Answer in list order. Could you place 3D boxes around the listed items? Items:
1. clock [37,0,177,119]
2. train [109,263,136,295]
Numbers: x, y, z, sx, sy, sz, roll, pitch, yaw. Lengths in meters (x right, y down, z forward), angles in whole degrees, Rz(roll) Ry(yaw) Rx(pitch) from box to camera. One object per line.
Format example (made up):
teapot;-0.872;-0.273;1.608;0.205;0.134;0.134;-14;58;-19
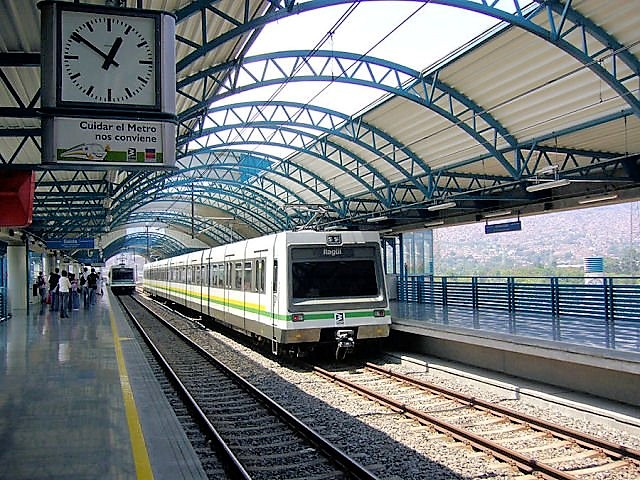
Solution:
clock;-2.692;-2.262;5.713;2.193;1.424;0.444;1;-3;-18
train;-22.681;4.506;52.013;2.051;2.133;6.855;1;0;-23
